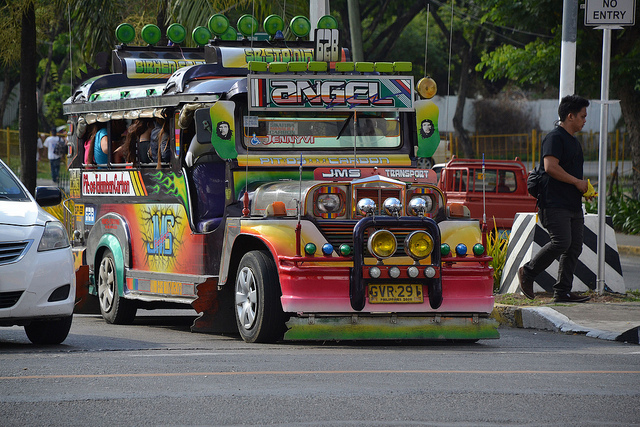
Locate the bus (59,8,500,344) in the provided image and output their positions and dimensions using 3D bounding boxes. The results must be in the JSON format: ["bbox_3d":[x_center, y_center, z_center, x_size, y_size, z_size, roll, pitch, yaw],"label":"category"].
[{"bbox_3d":[-1.022,-0.710,13.084,3.538,4.357,7.120,0,0,-30],"label":"bus"}]

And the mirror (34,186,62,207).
[{"bbox_3d":[-3.475,-0.254,11.482,0.302,0.306,0.250,2,8,-14],"label":"mirror"}]

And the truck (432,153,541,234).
[{"bbox_3d":[3.955,-0.542,21.111,1.553,1.832,3.055,0,7,-6],"label":"truck"}]

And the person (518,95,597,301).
[{"bbox_3d":[3.339,-0.178,12.646,0.945,2.914,0.639,1,8,12],"label":"person"}]

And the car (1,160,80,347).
[{"bbox_3d":[-3.360,0.641,10.757,0.815,1.875,1.125,-3,8,-17],"label":"car"}]

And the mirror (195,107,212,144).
[{"bbox_3d":[-1.488,-1.132,11.459,0.210,0.440,0.185,-2,8,-11],"label":"mirror"}]
